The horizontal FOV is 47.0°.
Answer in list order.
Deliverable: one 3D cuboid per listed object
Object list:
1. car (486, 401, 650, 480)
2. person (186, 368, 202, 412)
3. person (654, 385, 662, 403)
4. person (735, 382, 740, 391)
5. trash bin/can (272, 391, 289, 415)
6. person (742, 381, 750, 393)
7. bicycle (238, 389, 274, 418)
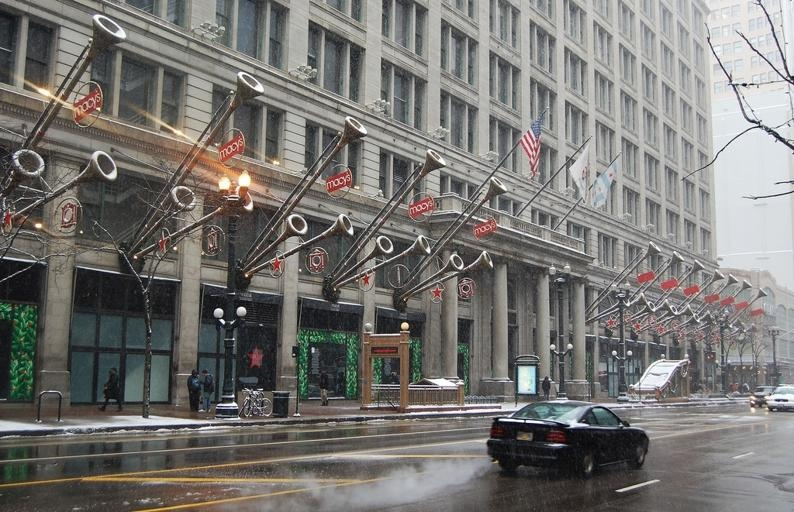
[{"bbox_3d":[6.194,6.697,33.338,5.691,2.759,1.775,6,-16,-19],"label":"car"},{"bbox_3d":[-10.412,6.963,46.772,0.620,2.198,0.808,5,-15,-18],"label":"person"},{"bbox_3d":[20.726,11.144,72.512,0.449,1.172,1.554,-6,-17,22],"label":"person"},{"bbox_3d":[45.424,17.620,122.379,0.843,0.904,0.219,18,-10,-38],"label":"person"},{"bbox_3d":[-5.890,7.545,46.123,0.795,1.259,0.531,2,-14,-7],"label":"trash bin/can"},{"bbox_3d":[46.315,17.597,121.633,1.089,1.174,3.257,8,5,20],"label":"person"},{"bbox_3d":[-7.168,7.560,46.336,0.929,1.143,1.662,-12,-17,39],"label":"bicycle"}]
